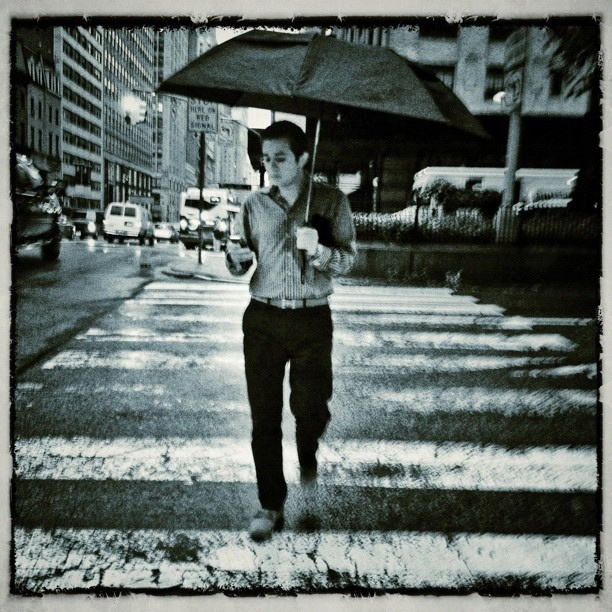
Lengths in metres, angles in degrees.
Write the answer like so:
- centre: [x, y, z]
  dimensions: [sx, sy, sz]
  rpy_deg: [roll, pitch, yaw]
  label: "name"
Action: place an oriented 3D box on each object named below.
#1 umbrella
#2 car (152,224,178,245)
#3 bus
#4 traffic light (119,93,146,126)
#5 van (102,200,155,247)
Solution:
- centre: [0.104, -1.287, 5.171]
  dimensions: [1.707, 0.832, 1.747]
  rpy_deg: [1, 12, -35]
  label: "umbrella"
- centre: [-8.300, -4.243, 46.738]
  dimensions: [1.060, 0.855, 2.561]
  rpy_deg: [0, 17, -5]
  label: "car"
- centre: [-4.515, -4.225, 37.742]
  dimensions: [2.254, 3.066, 6.476]
  rpy_deg: [11, 10, -1]
  label: "bus"
- centre: [-3.592, -4.045, 16.428]
  dimensions: [0.547, 0.662, 0.475]
  rpy_deg: [1, -5, 13]
  label: "traffic light"
- centre: [-7.753, -3.714, 35.042]
  dimensions: [1.462, 1.396, 3.005]
  rpy_deg: [2, 10, 1]
  label: "van"
